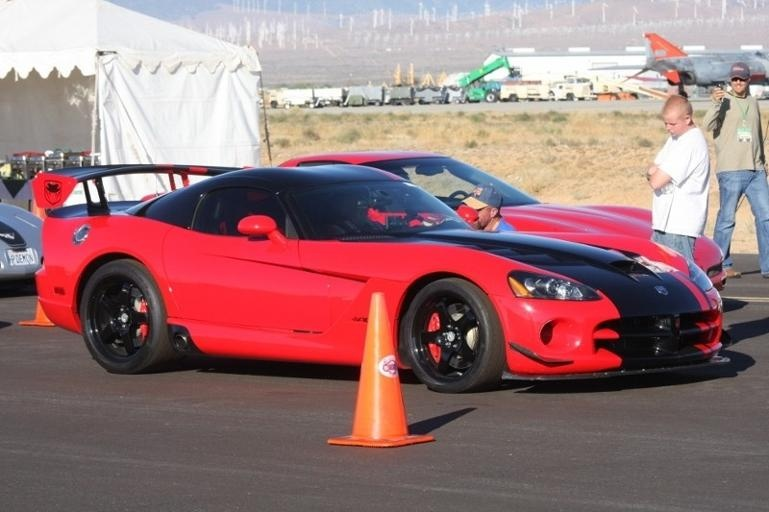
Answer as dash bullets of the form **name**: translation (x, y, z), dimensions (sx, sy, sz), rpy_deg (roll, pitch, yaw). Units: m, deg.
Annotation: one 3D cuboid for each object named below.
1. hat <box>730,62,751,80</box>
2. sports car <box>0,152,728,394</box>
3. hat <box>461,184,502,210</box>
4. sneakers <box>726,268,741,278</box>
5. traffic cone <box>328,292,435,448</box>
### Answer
- **hat**: translation (4.791, -2.454, 11.783), dimensions (0.247, 0.209, 0.406), rpy_deg (1, 5, 16)
- **sports car**: translation (-0.311, 0.162, 7.597), dimensions (5.895, 1.819, 1.151), rpy_deg (2, 8, 21)
- **hat**: translation (1.035, -0.605, 9.179), dimensions (0.332, 0.196, 0.237), rpy_deg (9, 7, -5)
- **sneakers**: translation (5.149, 0.254, 12.942), dimensions (0.125, 0.140, 0.351), rpy_deg (-1, -2, -42)
- **traffic cone**: translation (-0.035, 0.768, 6.013), dimensions (0.680, 0.979, 0.443), rpy_deg (0, 7, 5)
